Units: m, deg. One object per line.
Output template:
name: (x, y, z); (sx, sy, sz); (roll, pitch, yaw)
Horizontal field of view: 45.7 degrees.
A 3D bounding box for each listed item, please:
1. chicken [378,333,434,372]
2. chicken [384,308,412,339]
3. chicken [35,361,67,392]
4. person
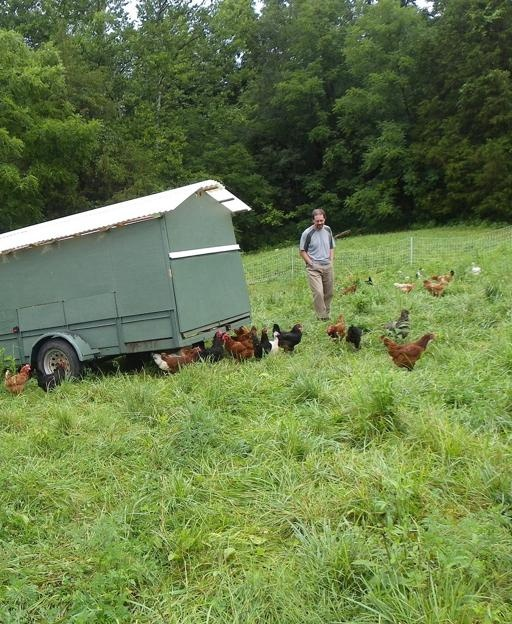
chicken: (1.591, 0.411, 6.264); (0.485, 0.315, 0.400); (-9, 5, -3)
chicken: (1.820, 0.155, 7.753); (0.229, 0.334, 0.502); (7, 15, 8)
chicken: (-2.424, 0.784, 7.248); (0.343, 0.290, 0.996); (-11, 5, -19)
person: (0.965, -0.746, 9.537); (0.658, 1.650, 0.524); (0, 6, 7)
